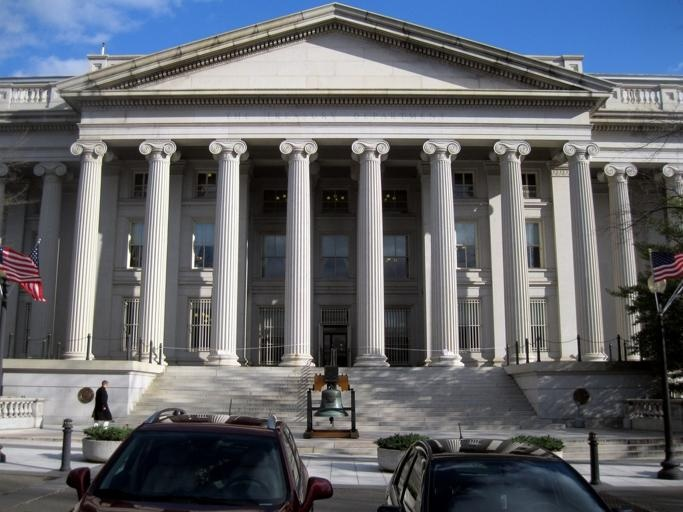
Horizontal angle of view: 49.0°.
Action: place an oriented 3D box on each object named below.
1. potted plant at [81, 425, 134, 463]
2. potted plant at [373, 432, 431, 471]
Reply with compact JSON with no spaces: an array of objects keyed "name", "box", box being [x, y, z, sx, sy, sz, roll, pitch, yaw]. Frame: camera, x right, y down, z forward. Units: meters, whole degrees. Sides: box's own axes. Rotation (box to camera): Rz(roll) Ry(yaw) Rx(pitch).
[{"name":"potted plant","box":[-7.097,5.567,22.501,1.328,0.742,1.187,-4,-1,-3]},{"name":"potted plant","box":[1.921,5.906,21.741,1.217,0.688,0.808,16,-22,-40]}]
